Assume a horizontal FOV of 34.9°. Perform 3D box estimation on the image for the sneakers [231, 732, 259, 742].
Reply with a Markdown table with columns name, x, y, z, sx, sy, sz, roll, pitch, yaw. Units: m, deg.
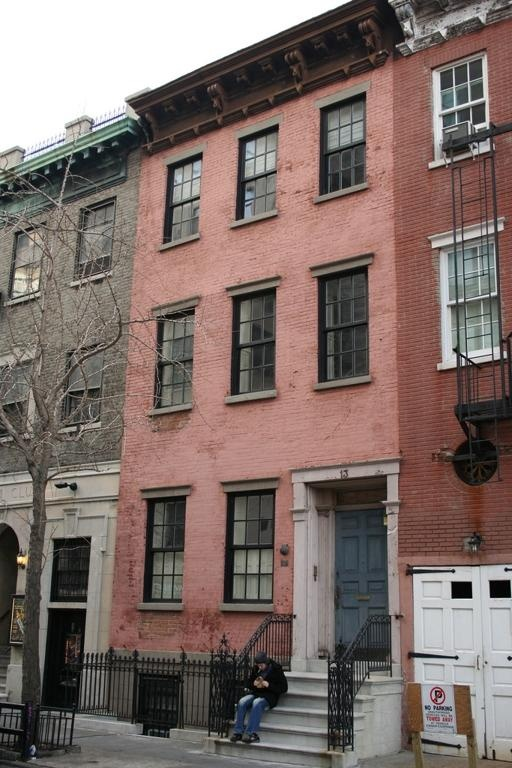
| name | x | y | z | sx | sy | sz | roll | pitch | yaw |
| --- | --- | --- | --- | --- | --- | --- | --- | --- | --- |
| sneakers | -0.151 | 4.582 | 10.489 | 0.287 | 0.112 | 0.158 | 9 | -28 | 1 |

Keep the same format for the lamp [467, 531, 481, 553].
| name | x | y | z | sx | sy | sz | roll | pitch | yaw |
| --- | --- | --- | --- | --- | --- | --- | --- | --- | --- |
| lamp | 2.920 | 2.117 | 10.896 | 0.204 | 0.303 | 0.160 | -9 | -23 | 22 |

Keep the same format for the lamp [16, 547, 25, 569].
| name | x | y | z | sx | sy | sz | roll | pitch | yaw |
| --- | --- | --- | --- | --- | --- | --- | --- | --- | --- |
| lamp | -5.024 | 3.778 | 17.459 | 0.177 | 0.368 | 0.397 | 7 | -23 | -16 |

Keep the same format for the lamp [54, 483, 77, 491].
| name | x | y | z | sx | sy | sz | roll | pitch | yaw |
| --- | --- | --- | --- | --- | --- | --- | --- | --- | --- |
| lamp | -3.882 | 2.127 | 16.719 | 0.292 | 0.140 | 0.240 | 15 | -16 | -38 |

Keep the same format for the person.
| name | x | y | z | sx | sy | sz | roll | pitch | yaw |
| --- | --- | --- | --- | --- | --- | --- | --- | --- | --- |
| person | 0.032 | 4.189 | 10.855 | 0.738 | 1.105 | 0.611 | 1 | -22 | -1 |
